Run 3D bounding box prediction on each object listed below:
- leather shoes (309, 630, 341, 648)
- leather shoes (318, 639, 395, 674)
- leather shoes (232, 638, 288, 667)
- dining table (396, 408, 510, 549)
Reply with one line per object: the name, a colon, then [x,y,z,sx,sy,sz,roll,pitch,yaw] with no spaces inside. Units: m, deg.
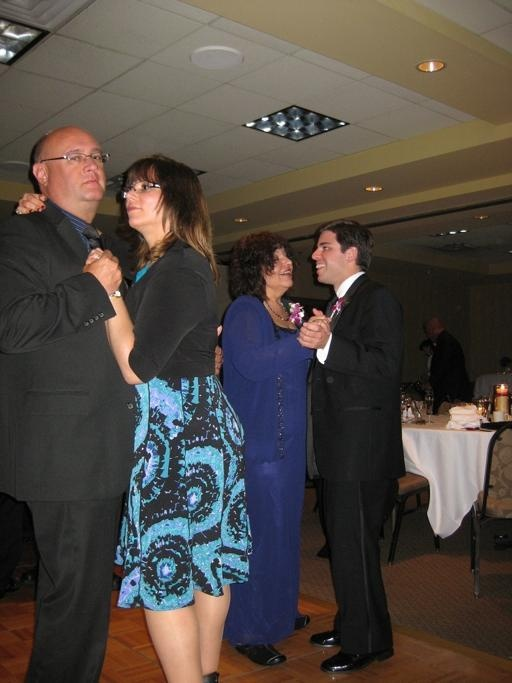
leather shoes: [0.266,1.127,2.095,0.123,0.044,0.042,12,-4,-22]
leather shoes: [0.338,1.100,1.975,0.281,0.110,0.094,4,-11,-16]
leather shoes: [0.005,1.105,1.998,0.203,0.076,0.071,-12,-16,39]
dining table: [1.148,0.833,3.600,0.751,0.700,0.804,1,1,14]
